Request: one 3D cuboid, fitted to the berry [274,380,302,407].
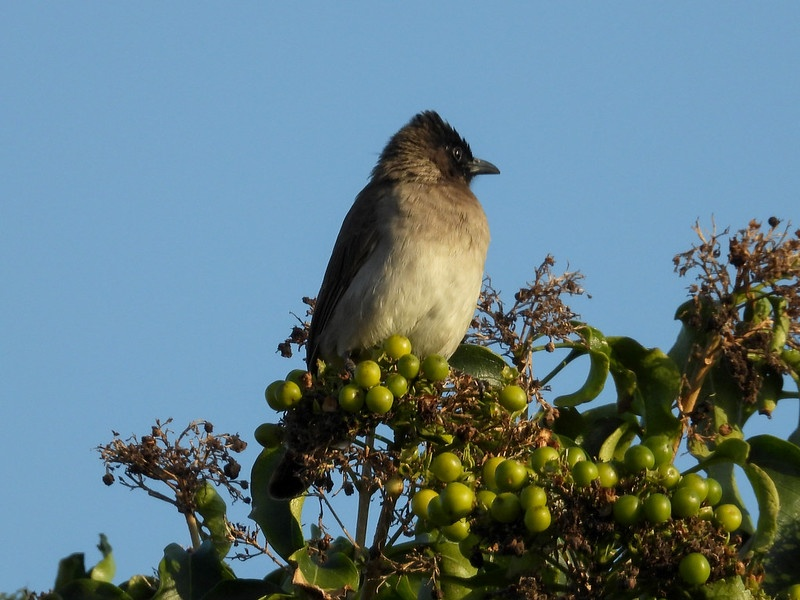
[{"bbox_3d":[-0.582,0.498,8.239,0.118,0.166,0.126,7,-8,-17],"label":"berry"}]

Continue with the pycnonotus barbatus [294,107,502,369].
[{"bbox_3d":[0.038,-0.481,10.436,1.042,2.155,0.814,5,-48,2],"label":"pycnonotus barbatus"}]

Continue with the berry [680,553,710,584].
[{"bbox_3d":[1.344,1.257,7.390,0.122,0.132,0.168,1,-90,3],"label":"berry"}]
